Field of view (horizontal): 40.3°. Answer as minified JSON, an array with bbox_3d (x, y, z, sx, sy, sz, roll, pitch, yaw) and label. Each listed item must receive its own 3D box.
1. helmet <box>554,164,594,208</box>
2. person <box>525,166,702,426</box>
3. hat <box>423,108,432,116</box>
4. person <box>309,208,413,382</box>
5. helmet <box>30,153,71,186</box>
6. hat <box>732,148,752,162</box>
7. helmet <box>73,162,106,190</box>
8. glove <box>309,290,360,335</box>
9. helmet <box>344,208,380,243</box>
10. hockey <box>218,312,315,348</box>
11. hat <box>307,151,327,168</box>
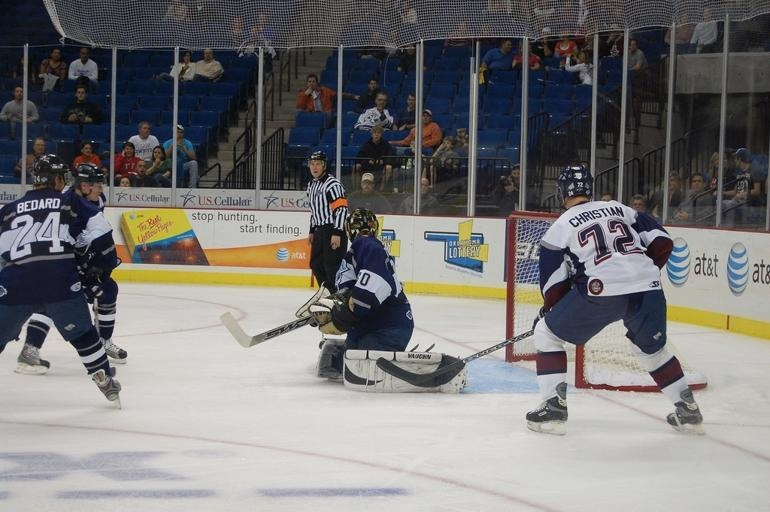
[{"bbox_3d":[1.465,-0.561,8.192,0.280,0.312,0.324,0,7,6],"label":"helmet"},{"bbox_3d":[1.726,0.328,8.030,1.206,2.025,0.471,2,7,7],"label":"person"},{"bbox_3d":[0.584,-1.951,14.099,0.106,0.075,0.161,5,-2,6],"label":"hat"},{"bbox_3d":[-0.199,0.355,8.955,0.801,1.496,0.508,3,7,19],"label":"person"},{"bbox_3d":[-2.668,-0.703,8.371,0.272,0.247,0.224,-13,23,-42],"label":"helmet"},{"bbox_3d":[4.107,-1.164,12.023,0.198,0.146,0.247,5,0,-4],"label":"hat"},{"bbox_3d":[-2.622,-0.721,9.337,0.251,0.231,0.191,4,17,-4],"label":"helmet"},{"bbox_3d":[-0.440,0.486,8.931,0.217,0.262,0.616,11,6,-16],"label":"glove"},{"bbox_3d":[-0.217,-0.286,9.097,0.240,0.279,0.287,1,16,-10],"label":"helmet"},{"bbox_3d":[-1.019,0.637,9.124,0.786,0.333,0.359,0,7,-9],"label":"hockey"},{"bbox_3d":[-0.767,-1.092,11.457,0.189,0.211,0.237,0,-11,14],"label":"hat"}]
